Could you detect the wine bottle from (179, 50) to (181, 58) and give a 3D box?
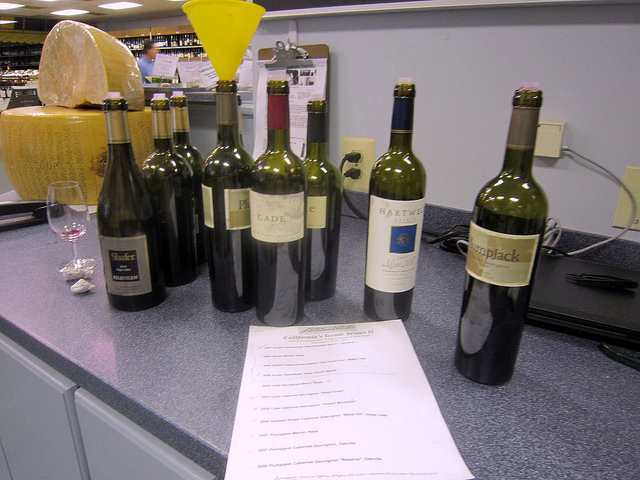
[{"bbox_3d":[-2.881,-3.866,9.945,0.035,0.089,0.178,-7,21,-14],"label":"wine bottle"}]

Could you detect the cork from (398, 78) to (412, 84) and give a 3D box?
[{"bbox_3d":[0.135,-0.253,0.770,0.018,0.007,0.017,2,20,8],"label":"cork"}]

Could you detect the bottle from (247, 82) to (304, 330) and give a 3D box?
[{"bbox_3d":[-0.072,-0.047,0.828,0.092,0.424,0.071,-2,22,-1],"label":"bottle"}]

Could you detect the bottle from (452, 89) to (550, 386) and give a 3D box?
[{"bbox_3d":[0.286,0.008,0.740,0.135,0.455,0.096,-1,22,1],"label":"bottle"}]

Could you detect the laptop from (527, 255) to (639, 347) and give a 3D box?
[{"bbox_3d":[0.498,0.135,0.934,0.215,0.041,0.220,4,32,11],"label":"laptop"}]

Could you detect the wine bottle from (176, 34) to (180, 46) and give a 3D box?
[{"bbox_3d":[-2.881,-4.041,9.776,0.103,0.203,0.056,11,25,28],"label":"wine bottle"}]

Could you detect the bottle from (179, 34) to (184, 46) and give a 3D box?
[{"bbox_3d":[-2.803,-4.027,9.731,0.094,0.212,0.051,10,24,27],"label":"bottle"}]

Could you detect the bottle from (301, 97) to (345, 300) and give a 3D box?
[{"bbox_3d":[0.004,-0.068,0.920,0.070,0.385,0.073,-1,22,0],"label":"bottle"}]

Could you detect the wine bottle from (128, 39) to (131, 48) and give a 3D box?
[{"bbox_3d":[-4.074,-4.200,10.324,0.056,0.141,0.126,-8,22,-18],"label":"wine bottle"}]

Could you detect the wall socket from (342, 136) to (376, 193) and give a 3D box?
[{"bbox_3d":[0.092,-0.194,1.379,0.080,0.187,0.097,-3,26,-9],"label":"wall socket"}]

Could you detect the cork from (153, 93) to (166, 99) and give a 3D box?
[{"bbox_3d":[-0.293,-0.263,0.882,0.021,0.009,0.026,-5,20,-10],"label":"cork"}]

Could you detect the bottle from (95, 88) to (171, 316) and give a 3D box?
[{"bbox_3d":[-0.363,-0.057,0.890,0.124,0.395,0.118,-1,21,0],"label":"bottle"}]

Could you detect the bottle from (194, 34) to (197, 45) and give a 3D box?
[{"bbox_3d":[-2.472,-3.944,9.583,0.057,0.118,0.131,-4,21,-8],"label":"bottle"}]

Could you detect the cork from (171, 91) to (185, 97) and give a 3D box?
[{"bbox_3d":[-0.281,-0.291,0.963,0.026,0.009,0.025,0,17,-2],"label":"cork"}]

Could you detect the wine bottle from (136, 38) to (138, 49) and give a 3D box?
[{"bbox_3d":[-3.869,-4.164,10.203,0.040,0.192,0.233,-7,22,-16],"label":"wine bottle"}]

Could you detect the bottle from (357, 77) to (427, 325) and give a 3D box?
[{"bbox_3d":[0.130,-0.072,0.900,0.126,0.437,0.191,3,22,10],"label":"bottle"}]
